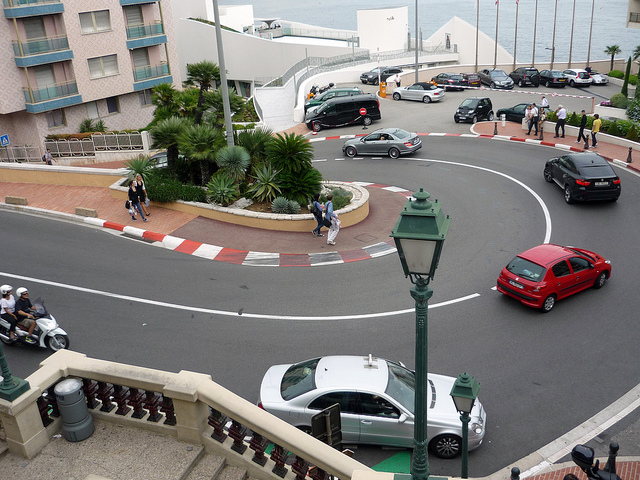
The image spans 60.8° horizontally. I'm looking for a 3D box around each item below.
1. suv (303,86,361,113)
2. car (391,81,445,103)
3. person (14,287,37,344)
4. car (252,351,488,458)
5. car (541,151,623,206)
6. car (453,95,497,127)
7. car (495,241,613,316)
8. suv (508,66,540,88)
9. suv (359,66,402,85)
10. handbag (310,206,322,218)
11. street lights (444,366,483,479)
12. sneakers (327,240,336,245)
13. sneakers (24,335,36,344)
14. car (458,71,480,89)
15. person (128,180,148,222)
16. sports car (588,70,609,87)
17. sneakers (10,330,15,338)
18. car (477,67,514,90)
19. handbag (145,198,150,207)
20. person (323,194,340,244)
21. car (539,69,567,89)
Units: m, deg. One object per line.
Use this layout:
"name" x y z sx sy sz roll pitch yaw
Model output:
"suv" 0.824 -10.995 43.355 3.643 1.895 2.162 -1 45 -2
"car" 8.524 -12.560 46.714 3.913 1.468 1.293 11 24 32
"person" -8.275 2.015 15.103 0.469 1.386 0.629 -15 23 -30
"car" 1.039 4.173 12.515 5.167 1.843 2.292 2 33 6
"car" 11.953 -2.835 24.826 1.903 1.890 3.011 -7 21 -10
"car" 11.039 -9.313 39.212 2.688 1.506 1.723 -20 28 -39
"car" 7.378 1.140 17.170 3.190 1.548 1.282 -11 22 -20
"suv" 21.310 -16.923 56.636 1.540 1.615 3.520 -5 24 -7
"suv" 6.183 -17.130 56.987 3.749 1.659 4.045 -2 21 1
"handbag" -0.163 -1.085 21.530 0.464 0.566 0.280 -1 20 5
"street lights" 2.915 3.823 11.023 0.661 3.061 0.648 14 50 26
"sneakers" 0.441 0.068 21.539 0.300 0.223 0.145 -8 46 -5
"sneakers" -8.149 2.780 15.194 0.306 0.248 0.116 7 -14 9
"car" 14.914 -15.620 53.638 1.321 1.105 2.335 -3 33 4
"person" -7.832 -1.664 23.074 0.669 1.780 0.495 -2 19 2
"sports car" 30.122 -17.480 59.219 1.619 0.802 2.832 -5 30 -3
"sneakers" -8.658 2.626 15.194 0.088 0.184 0.256 -5 22 -31
"car" 17.403 -15.763 53.838 2.298 1.670 3.622 -12 23 -23
"handbag" -7.716 -1.671 24.047 0.164 0.178 0.294 -26 31 -19
"person" 0.432 -0.813 21.344 0.555 1.988 0.726 -3 20 1
"car" 24.143 -16.479 56.026 2.660 1.641 2.069 4 21 17
